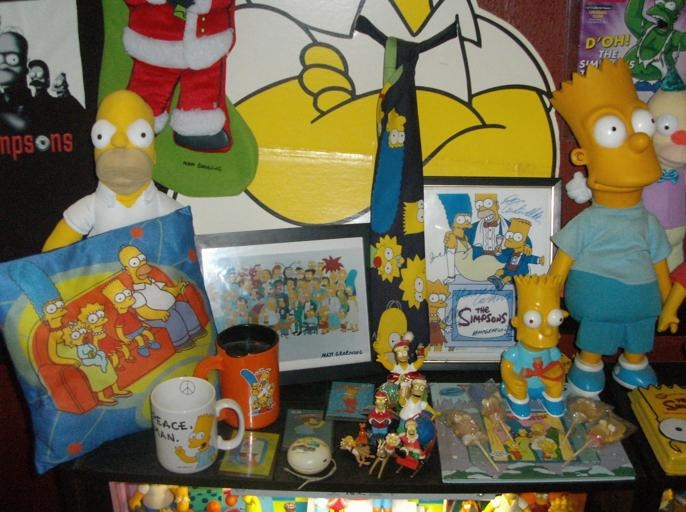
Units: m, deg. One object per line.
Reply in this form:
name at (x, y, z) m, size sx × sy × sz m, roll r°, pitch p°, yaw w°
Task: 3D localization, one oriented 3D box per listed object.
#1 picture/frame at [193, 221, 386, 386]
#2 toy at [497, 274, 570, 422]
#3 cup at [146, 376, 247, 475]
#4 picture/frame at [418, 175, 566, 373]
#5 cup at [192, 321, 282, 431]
picture/frame at (-0.130, 0.114, 1.477) m, size 0.353 × 0.331 × 0.015 m, roll -7°, pitch 0°, yaw -9°
toy at (0.426, 0.201, 1.420) m, size 0.146 × 0.305 × 0.125 m, roll 1°, pitch 18°, yaw 5°
cup at (-0.286, 0.355, 1.315) m, size 0.180 × 0.144 × 0.111 m, roll -1°, pitch 15°, yaw -26°
picture/frame at (0.347, 0.029, 1.500) m, size 0.456 × 0.474 × 0.046 m, roll -2°, pitch 5°, yaw -2°
cup at (-0.242, 0.288, 1.374) m, size 0.184 × 0.174 × 0.114 m, roll -6°, pitch 9°, yaw -43°
